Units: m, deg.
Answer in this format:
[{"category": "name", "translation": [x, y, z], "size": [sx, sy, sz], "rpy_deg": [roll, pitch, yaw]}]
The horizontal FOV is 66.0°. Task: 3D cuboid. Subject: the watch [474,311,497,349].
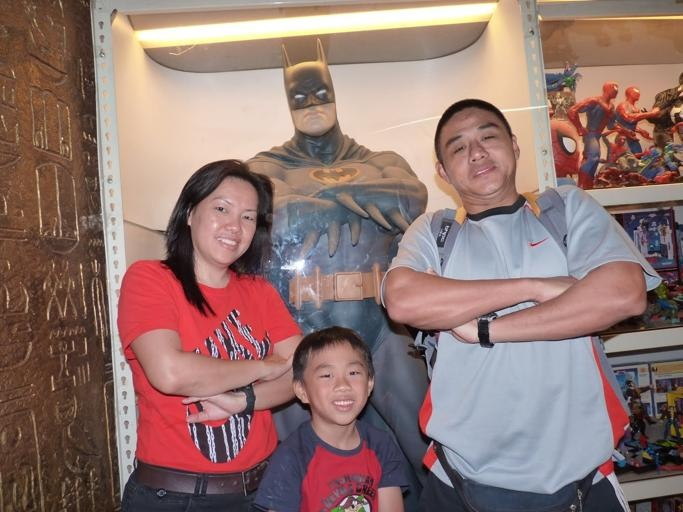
[{"category": "watch", "translation": [0.431, 0.222, 1.551], "size": [0.058, 0.100, 0.049], "rpy_deg": [-4, 0, 12]}]
